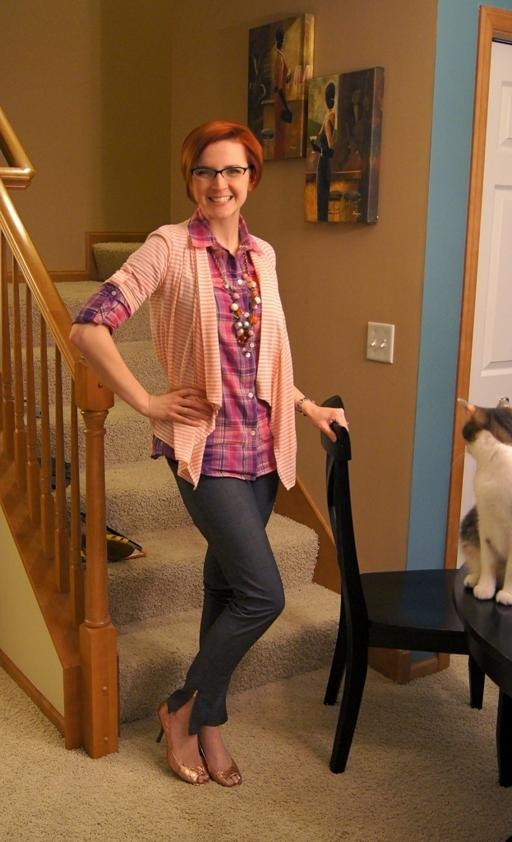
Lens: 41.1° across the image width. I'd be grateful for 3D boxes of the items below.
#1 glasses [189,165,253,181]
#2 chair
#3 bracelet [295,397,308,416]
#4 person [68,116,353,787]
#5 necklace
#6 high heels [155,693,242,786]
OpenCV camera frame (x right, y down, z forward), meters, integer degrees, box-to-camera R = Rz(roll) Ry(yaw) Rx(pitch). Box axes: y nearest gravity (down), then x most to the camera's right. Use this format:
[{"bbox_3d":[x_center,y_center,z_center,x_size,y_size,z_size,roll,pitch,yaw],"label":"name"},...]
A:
[{"bbox_3d":[-0.072,-0.467,1.273,0.102,0.031,0.039,2,2,1],"label":"glasses"},{"bbox_3d":[0.404,0.403,1.718,0.489,0.843,0.506,0,5,18],"label":"chair"},{"bbox_3d":[0.099,-0.033,1.506,0.028,0.037,0.013,-6,-20,24],"label":"bracelet"},{"bbox_3d":[-0.102,0.135,1.445,0.578,1.420,0.336,1,3,-18],"label":"person"},{"bbox_3d":[-0.038,-0.233,1.330,0.091,0.209,0.069,1,3,-26],"label":"necklace"},{"bbox_3d":[-0.172,0.761,1.647,0.108,0.157,0.315,3,-8,-29],"label":"high heels"}]
